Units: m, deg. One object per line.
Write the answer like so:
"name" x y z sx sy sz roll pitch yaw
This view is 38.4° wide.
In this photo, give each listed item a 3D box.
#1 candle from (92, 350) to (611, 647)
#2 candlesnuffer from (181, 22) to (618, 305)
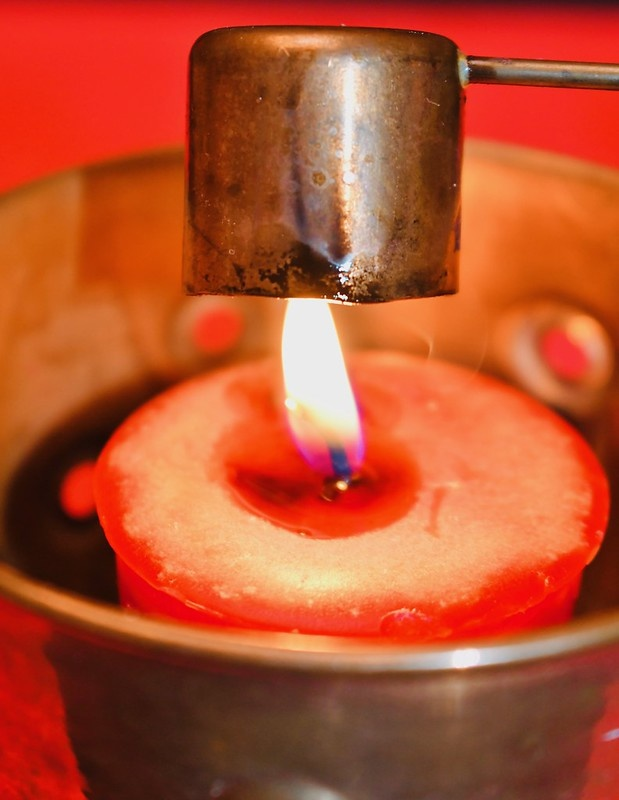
"candle" 0.010 0.045 0.385 0.219 0.048 0.175 8 23 20
"candlesnuffer" 0.003 -0.088 0.336 0.104 0.098 0.062 1 25 3
